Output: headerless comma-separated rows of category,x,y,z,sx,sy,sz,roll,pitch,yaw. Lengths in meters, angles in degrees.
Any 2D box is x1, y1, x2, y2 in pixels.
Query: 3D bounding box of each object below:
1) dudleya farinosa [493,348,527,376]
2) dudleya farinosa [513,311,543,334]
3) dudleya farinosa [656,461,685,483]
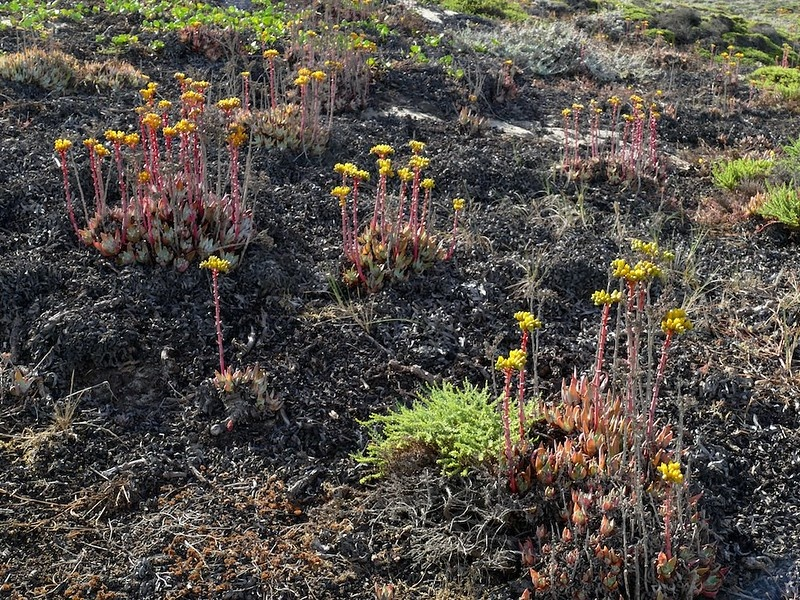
dudleya farinosa,0.927,0.534,9.200,0.217,0.268,0.303,9,19,11
dudleya farinosa,1.061,0.195,9.286,0.166,0.090,0.232,28,0,-1
dudleya farinosa,2.177,1.408,8.853,0.173,0.119,0.187,7,28,9
